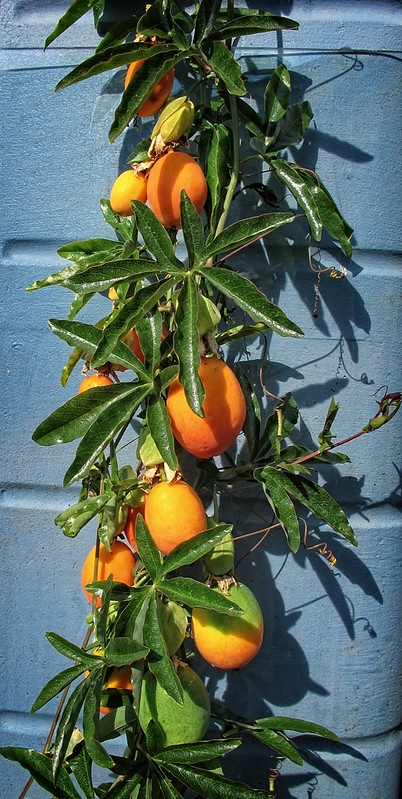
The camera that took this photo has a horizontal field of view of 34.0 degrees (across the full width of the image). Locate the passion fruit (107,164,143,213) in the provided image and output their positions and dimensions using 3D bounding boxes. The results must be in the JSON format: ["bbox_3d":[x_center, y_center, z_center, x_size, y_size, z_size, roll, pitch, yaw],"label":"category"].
[{"bbox_3d":[-0.090,-0.251,0.801,0.036,0.043,0.067,-2,-1,-21],"label":"passion fruit"}]

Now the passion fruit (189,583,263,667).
[{"bbox_3d":[0.032,0.249,0.761,0.097,0.119,0.098,0,1,6],"label":"passion fruit"}]

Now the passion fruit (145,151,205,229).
[{"bbox_3d":[-0.031,-0.229,0.699,0.064,0.085,0.066,4,-24,-2],"label":"passion fruit"}]

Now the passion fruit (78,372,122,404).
[{"bbox_3d":[-0.123,-0.011,0.803,0.040,0.049,0.040,-1,-2,-1],"label":"passion fruit"}]

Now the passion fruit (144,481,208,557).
[{"bbox_3d":[-0.027,0.115,0.677,0.060,0.075,0.059,0,14,-1],"label":"passion fruit"}]

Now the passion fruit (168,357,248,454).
[{"bbox_3d":[0.003,0.005,0.674,0.084,0.129,0.085,-3,41,-5],"label":"passion fruit"}]

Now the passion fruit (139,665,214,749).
[{"bbox_3d":[-0.025,0.323,0.683,0.068,0.092,0.071,-7,24,11],"label":"passion fruit"}]
